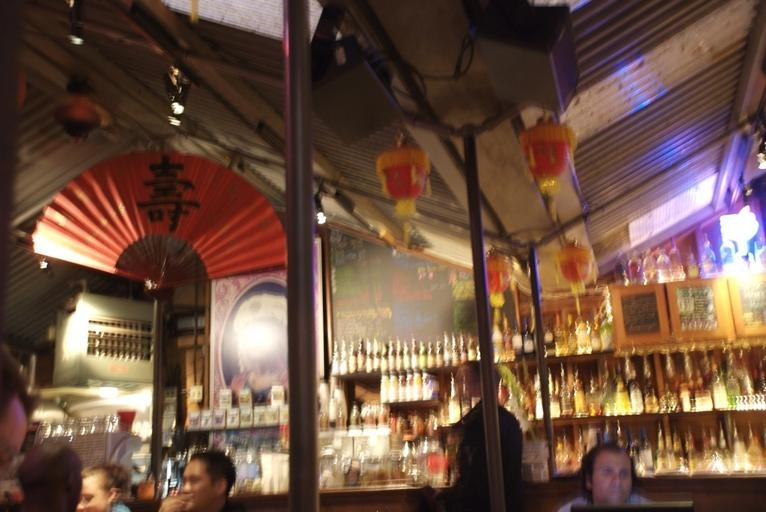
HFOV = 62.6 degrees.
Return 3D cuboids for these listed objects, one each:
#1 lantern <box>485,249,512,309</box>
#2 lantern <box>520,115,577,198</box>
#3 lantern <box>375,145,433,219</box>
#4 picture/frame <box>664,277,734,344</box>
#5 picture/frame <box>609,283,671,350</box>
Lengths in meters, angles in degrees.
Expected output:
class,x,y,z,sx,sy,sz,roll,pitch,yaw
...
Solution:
class,x,y,z,sx,sy,sz,roll,pitch,yaw
lantern,1.135,0.188,6.142,0.220,0.564,1.040,-7,-22,9
lantern,1.104,-0.689,4.390,0.424,0.534,0.439,1,-26,6
lantern,0.096,-0.495,4.247,0.360,0.529,0.405,-2,-11,-7
picture/frame,3.381,0.562,6.720,0.629,0.643,0.135,-3,-20,-1
picture/frame,2.792,0.658,6.801,0.630,0.759,0.124,-4,-28,9
